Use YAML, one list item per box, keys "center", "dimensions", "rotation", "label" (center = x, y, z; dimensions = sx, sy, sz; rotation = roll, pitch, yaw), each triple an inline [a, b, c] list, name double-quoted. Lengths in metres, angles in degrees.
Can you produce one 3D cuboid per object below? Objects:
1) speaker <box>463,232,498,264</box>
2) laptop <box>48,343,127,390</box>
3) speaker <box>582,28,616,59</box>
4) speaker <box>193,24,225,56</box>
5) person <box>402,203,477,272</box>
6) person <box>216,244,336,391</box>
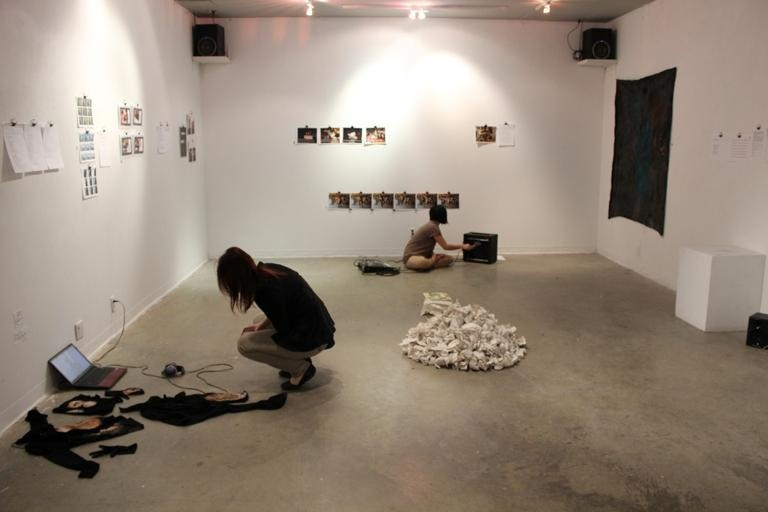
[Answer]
- center: [1.594, -0.115, 8.085]
  dimensions: [0.408, 0.438, 0.229]
  rotation: [5, 14, 24]
  label: "speaker"
- center: [-2.634, 0.983, 4.397]
  dimensions: [0.555, 0.282, 0.385]
  rotation: [0, 16, 5]
  label: "laptop"
- center: [3.510, -3.425, 8.003]
  dimensions: [0.477, 0.520, 0.521]
  rotation: [0, 18, 0]
  label: "speaker"
- center: [-2.755, -3.350, 7.677]
  dimensions: [0.460, 0.488, 0.498]
  rotation: [3, 21, -1]
  label: "speaker"
- center: [0.897, -0.349, 7.993]
  dimensions: [1.114, 1.039, 0.925]
  rotation: [-2, 13, -7]
  label: "person"
- center: [-0.877, 0.523, 4.123]
  dimensions: [0.899, 1.328, 0.435]
  rotation: [-8, 16, -20]
  label: "person"
